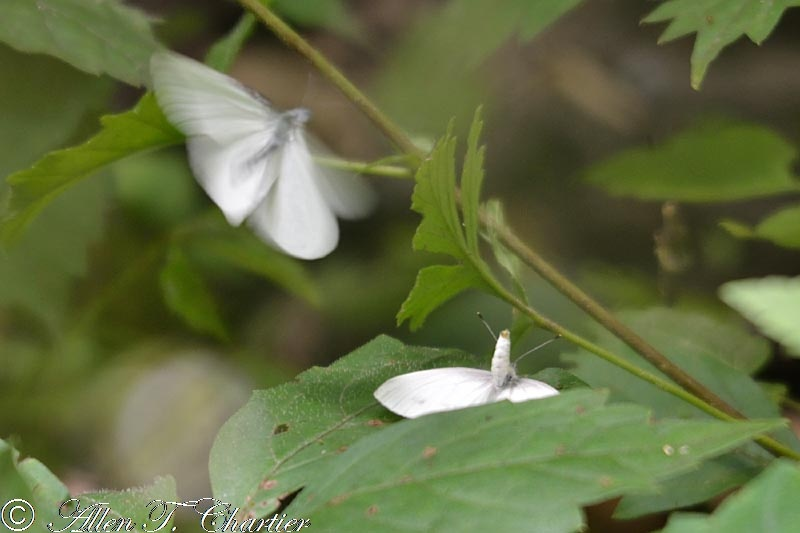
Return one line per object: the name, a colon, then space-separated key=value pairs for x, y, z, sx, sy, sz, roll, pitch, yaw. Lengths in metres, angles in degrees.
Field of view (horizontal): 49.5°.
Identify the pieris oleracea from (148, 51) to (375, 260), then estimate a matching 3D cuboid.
pieris oleracea: x=-0.181 y=-0.143 z=1.075 sx=0.159 sy=0.326 sz=0.075 roll=-53 pitch=38 yaw=-9
